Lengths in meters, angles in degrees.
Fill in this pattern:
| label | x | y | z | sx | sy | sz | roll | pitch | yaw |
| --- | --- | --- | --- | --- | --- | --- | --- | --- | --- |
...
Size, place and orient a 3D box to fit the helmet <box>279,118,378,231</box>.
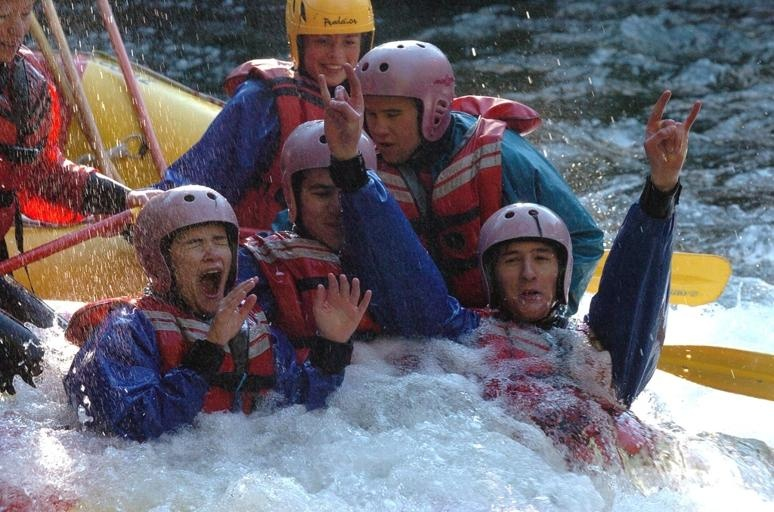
| label | x | y | z | sx | sy | sz | roll | pitch | yaw |
| --- | --- | --- | --- | --- | --- | --- | --- | --- | --- |
| helmet | -0.408 | -0.576 | 6.274 | 0.427 | 0.497 | 0.547 | -4 | -7 | -6 |
